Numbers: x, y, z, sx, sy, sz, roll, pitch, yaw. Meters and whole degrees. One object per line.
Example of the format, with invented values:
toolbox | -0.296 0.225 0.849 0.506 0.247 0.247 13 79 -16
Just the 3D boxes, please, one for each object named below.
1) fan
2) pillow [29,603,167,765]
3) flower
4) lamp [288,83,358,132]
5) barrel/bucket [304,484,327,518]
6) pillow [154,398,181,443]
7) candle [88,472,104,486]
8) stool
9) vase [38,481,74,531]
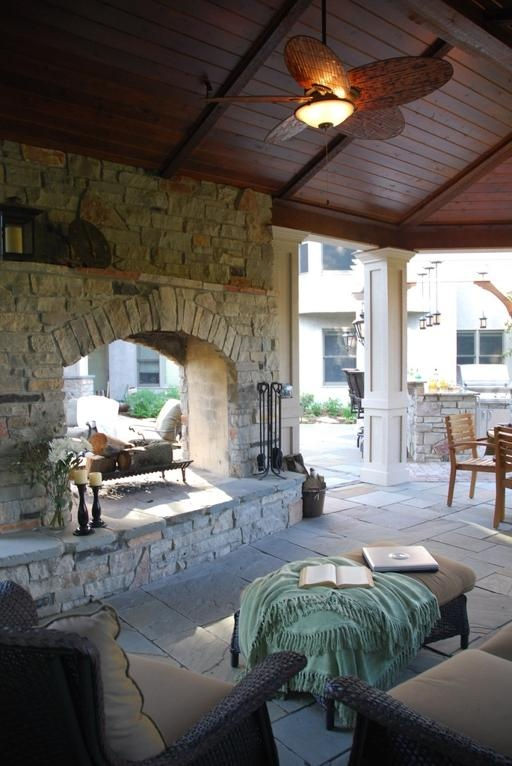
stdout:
fan | 0.346 -1.732 3.012 0.845 0.500 1.016 0 -1 -24
pillow | -0.359 0.628 1.158 0.101 0.337 0.303 -23 -16 16
flower | -1.240 0.568 3.468 0.441 0.523 0.469 -5 8 -29
lamp | 0.297 -1.216 2.442 0.236 0.164 0.240 -2 0 -20
barrel/bucket | 0.515 1.071 4.980 0.240 0.193 0.233 1 0 0
pillow | -0.982 0.439 6.125 0.263 0.444 0.689 -2 0 -10
candle | -0.949 0.556 3.229 0.088 0.091 0.094 0 -1 6
stool | 0.488 0.906 2.315 0.585 0.304 0.897 1 2 40
vase | -1.245 0.754 3.371 0.198 0.330 0.206 -13 -13 30
